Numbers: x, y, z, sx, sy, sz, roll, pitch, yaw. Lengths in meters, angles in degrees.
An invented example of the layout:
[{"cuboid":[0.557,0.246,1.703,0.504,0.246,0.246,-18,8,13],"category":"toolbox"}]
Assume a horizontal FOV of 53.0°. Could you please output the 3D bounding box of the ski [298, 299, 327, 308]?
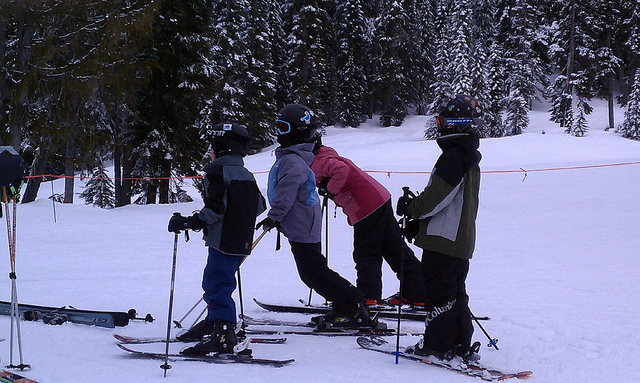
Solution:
[{"cuboid":[-0.193,2.614,14.872,0.687,0.129,0.101,18,-13,7],"category":"ski"}]
